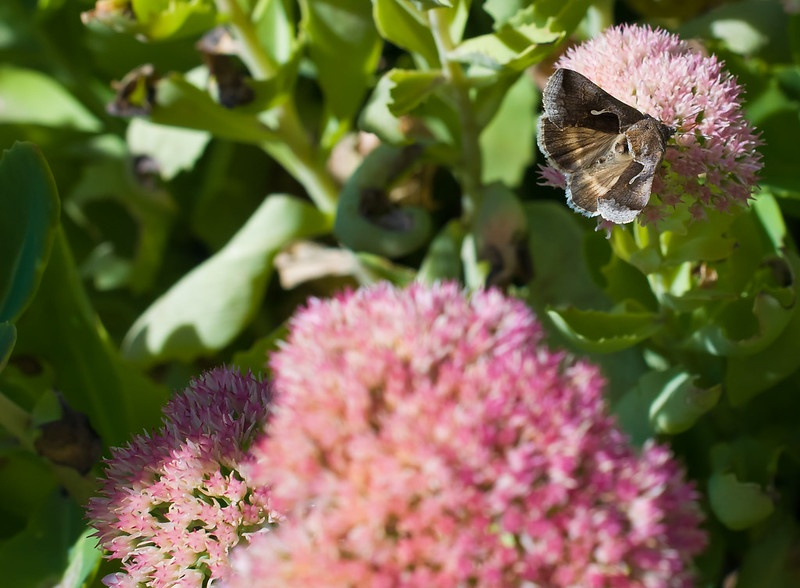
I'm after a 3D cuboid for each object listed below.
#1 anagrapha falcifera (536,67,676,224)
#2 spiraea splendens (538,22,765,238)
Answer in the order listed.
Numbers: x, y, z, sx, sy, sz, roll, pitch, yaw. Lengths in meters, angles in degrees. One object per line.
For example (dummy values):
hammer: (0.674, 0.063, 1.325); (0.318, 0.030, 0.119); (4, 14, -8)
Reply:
anagrapha falcifera: (0.137, -0.098, 0.627); (0.098, 0.090, 0.104); (10, 34, 16)
spiraea splendens: (0.183, -0.117, 0.652); (0.148, 0.126, 0.129); (9, 46, 24)
